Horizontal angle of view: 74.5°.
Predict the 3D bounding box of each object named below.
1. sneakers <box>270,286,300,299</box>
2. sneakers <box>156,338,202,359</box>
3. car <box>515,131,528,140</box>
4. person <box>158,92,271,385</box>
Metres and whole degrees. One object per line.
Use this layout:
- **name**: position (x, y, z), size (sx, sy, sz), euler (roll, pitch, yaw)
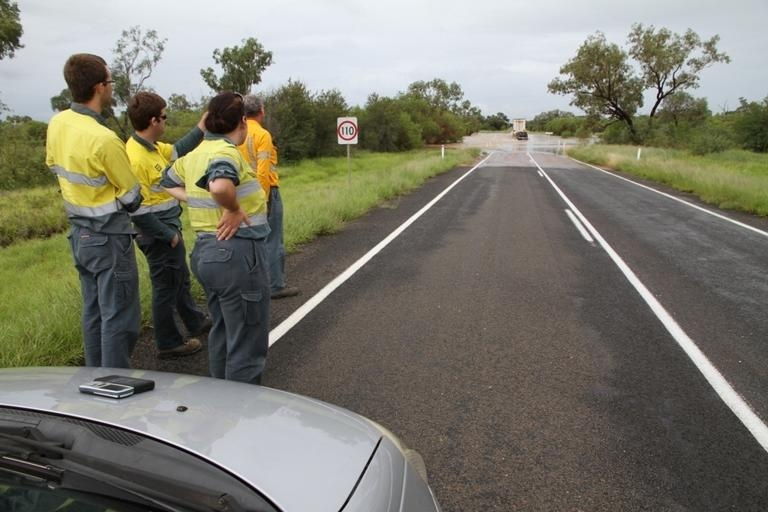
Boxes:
- **sneakers**: position (-1.385, 0.503, 7.016), size (0.279, 0.095, 0.155), euler (-6, 8, -25)
- **sneakers**: position (-2.249, 1.026, 5.579), size (0.362, 0.181, 0.168), euler (-10, 14, -24)
- **car**: position (21.601, -18.748, 79.143), size (1.257, 1.269, 2.428), euler (0, 13, 9)
- **person**: position (-1.414, -0.059, 4.523), size (0.609, 2.699, 0.919), euler (-12, 17, -43)
